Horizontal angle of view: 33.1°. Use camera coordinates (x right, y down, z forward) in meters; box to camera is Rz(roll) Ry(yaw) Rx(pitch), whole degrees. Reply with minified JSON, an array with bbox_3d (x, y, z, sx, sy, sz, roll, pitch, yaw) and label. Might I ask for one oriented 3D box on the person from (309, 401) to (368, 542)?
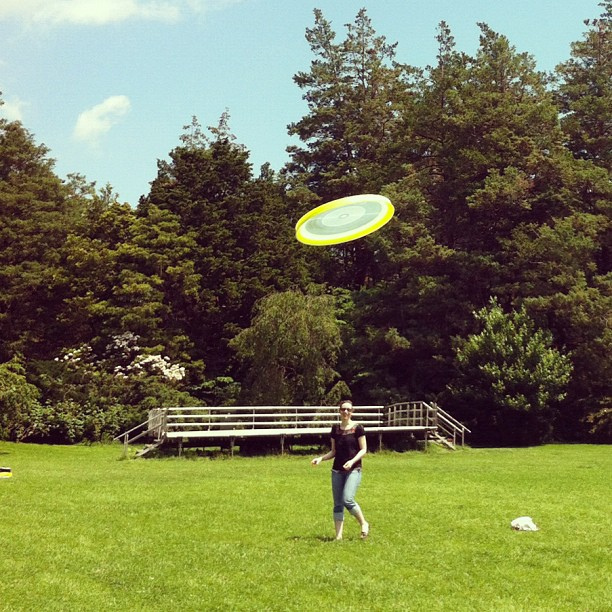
[{"bbox_3d":[0.760,3.146,19.631,0.826,2.665,1.107,0,-5,3],"label":"person"}]
